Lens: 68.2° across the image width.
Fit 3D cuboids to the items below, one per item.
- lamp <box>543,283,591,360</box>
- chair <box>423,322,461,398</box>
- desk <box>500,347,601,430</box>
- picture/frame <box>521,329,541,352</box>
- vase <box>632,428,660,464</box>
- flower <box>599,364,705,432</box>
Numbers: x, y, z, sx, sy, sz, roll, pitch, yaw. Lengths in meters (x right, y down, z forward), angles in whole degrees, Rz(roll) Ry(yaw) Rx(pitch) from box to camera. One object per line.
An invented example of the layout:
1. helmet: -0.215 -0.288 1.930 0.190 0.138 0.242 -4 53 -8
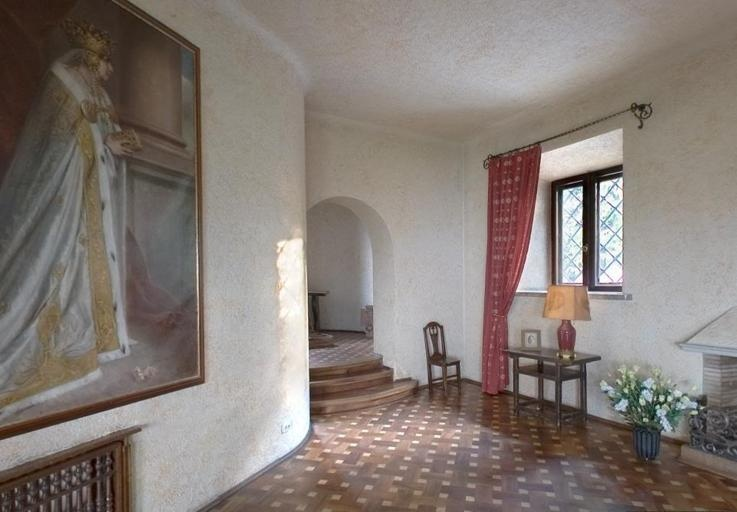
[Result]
1. lamp: 2.498 0.818 6.803 0.546 0.899 0.556 2 -2 -22
2. chair: 1.119 1.514 8.168 0.581 1.023 0.864 1 10 10
3. desk: 2.356 1.658 7.031 0.591 0.869 1.142 -2 0 -32
4. picture/frame: 2.185 1.130 7.256 0.245 0.278 0.011 1 -15 14
5. vase: 2.942 1.974 5.718 0.298 0.396 0.309 -1 -8 7
6. flower: 3.102 1.512 5.934 0.738 0.611 0.859 -8 4 -26
